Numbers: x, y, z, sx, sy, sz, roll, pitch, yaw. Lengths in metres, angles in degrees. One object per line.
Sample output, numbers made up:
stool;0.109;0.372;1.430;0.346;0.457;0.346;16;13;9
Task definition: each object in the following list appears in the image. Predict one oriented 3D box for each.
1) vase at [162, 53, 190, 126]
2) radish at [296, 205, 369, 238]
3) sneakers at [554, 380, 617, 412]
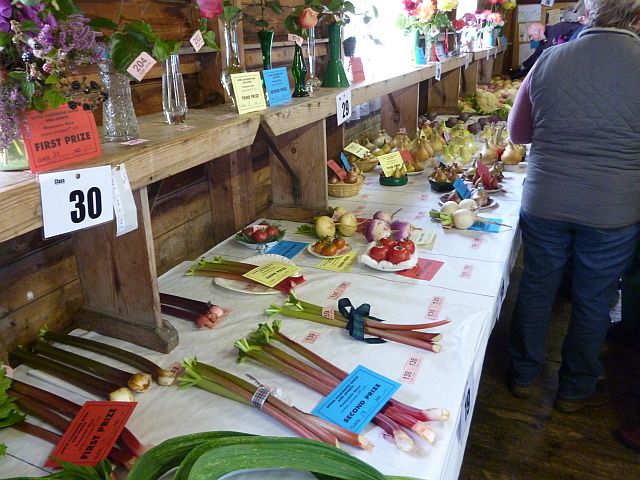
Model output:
vase;-0.488;-0.492;1.395;0.087;0.218;0.076;13;30;13
radish;0.047;-0.087;2.096;0.330;0.087;0.271;7;17;25
sneakers;1.366;0.782;2.215;0.377;0.123;0.118;-13;23;-28
